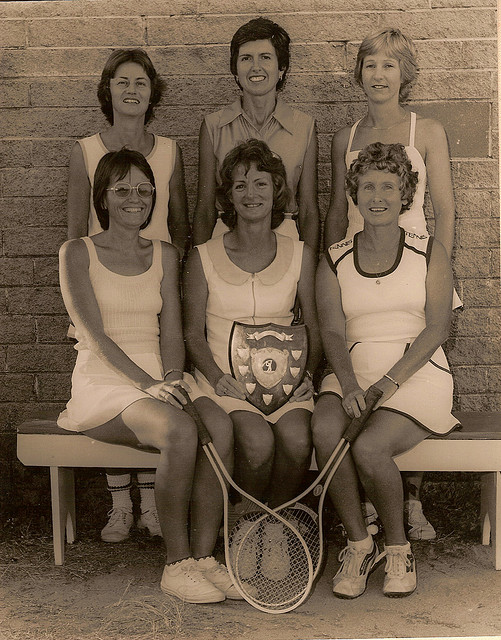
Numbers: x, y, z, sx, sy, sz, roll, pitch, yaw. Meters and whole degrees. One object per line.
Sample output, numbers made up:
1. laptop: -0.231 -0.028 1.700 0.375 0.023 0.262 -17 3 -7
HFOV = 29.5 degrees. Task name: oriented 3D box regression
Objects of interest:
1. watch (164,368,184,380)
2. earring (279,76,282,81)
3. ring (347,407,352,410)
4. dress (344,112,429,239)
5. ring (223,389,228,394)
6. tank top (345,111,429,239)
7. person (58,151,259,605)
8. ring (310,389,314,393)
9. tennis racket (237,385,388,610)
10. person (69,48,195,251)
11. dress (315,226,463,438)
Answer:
1. watch: -0.291 0.201 3.564 0.072 0.038 0.061 -2 6 -9
2. earring: 0.126 -1.037 4.072 0.009 0.011 0.003 -4 48 -11
3. ring: 0.348 0.310 3.351 0.011 0.002 0.011 -12 -15 -3
4. dress: 0.602 -0.624 4.089 0.377 0.512 0.411 -1 13 7
5. ring: -0.095 0.261 3.496 0.021 0.017 0.004 0 -1 -8
6. tank top: 0.605 -0.629 4.024 0.382 0.521 0.418 0 13 8
7. person: -0.368 0.163 3.430 0.475 1.570 0.886 -5 9 -30
8. ring: 0.229 0.268 3.598 0.012 0.015 0.014 -17 -2 2
9. tennis racket: 0.192 0.599 3.256 0.435 0.708 0.692 2 7 20
10. person: -0.514 -0.658 4.031 0.598 0.969 0.552 -3 14 -19
11. dress: 0.535 0.018 3.652 0.595 0.726 0.466 5 11 13
